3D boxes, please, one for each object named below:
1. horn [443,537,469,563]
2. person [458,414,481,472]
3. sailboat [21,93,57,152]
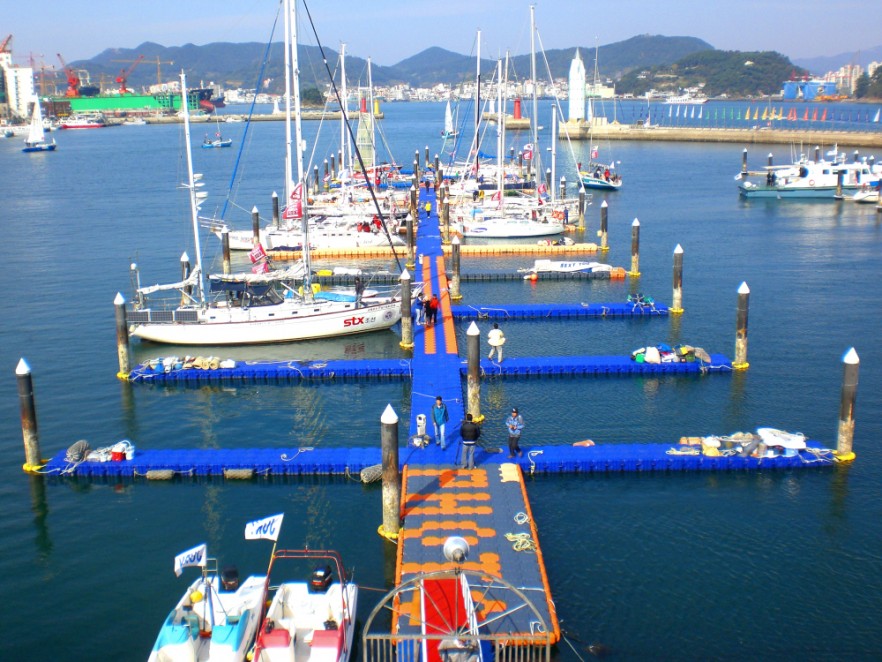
[{"bbox_3d":[0.215,6.681,36.832,0.945,0.227,0.958,33,11,24],"label":"horn"},{"bbox_3d":[1.035,4.123,45.033,0.725,1.839,1.249,-3,14,1],"label":"person"},{"bbox_3d":[-54.688,-27.829,165.988,1.732,7.537,4.996,16,21,42],"label":"sailboat"}]
